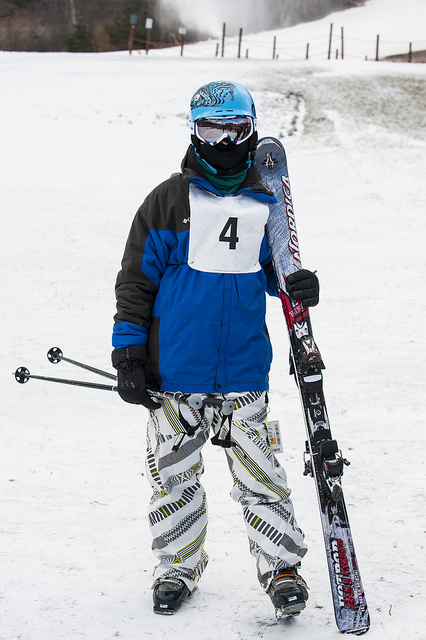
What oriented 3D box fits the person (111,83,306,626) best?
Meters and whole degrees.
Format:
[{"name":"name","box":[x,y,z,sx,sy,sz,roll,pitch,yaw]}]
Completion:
[{"name":"person","box":[-0.055,0.098,2.945,0.696,2.171,0.679,-3,8,-1]}]

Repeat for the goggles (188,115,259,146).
[{"name":"goggles","box":[0.044,-0.802,3.040,0.283,0.127,0.142,-2,18,2]}]
